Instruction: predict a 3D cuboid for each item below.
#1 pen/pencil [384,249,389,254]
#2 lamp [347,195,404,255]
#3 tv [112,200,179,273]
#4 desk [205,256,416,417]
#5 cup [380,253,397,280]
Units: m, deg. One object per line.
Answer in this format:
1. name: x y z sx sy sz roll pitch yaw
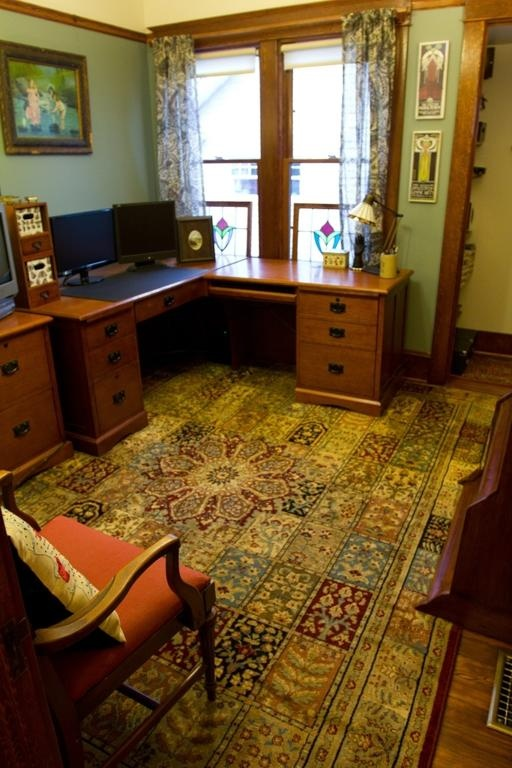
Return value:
1. pen/pencil: 0.839 -0.842 3.390 0.027 0.017 0.026 -18 23 -42
2. lamp: 0.772 -1.014 3.379 0.285 0.367 0.596 2 22 18
3. tv: -0.744 -0.983 3.561 0.434 0.387 0.153 -22 39 -38
4. desk: 0.389 -0.402 3.563 1.606 1.082 0.889 9 23 25
5. cup: 0.823 -0.728 3.298 0.102 0.144 0.158 0 21 12
